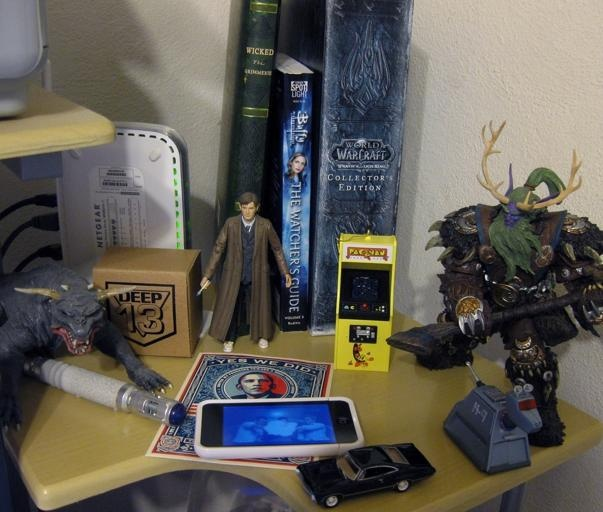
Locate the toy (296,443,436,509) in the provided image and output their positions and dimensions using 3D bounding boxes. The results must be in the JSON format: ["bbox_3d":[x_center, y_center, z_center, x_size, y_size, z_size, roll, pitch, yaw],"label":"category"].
[{"bbox_3d":[0.078,0.256,0.657,0.155,0.044,0.065,-7,39,-12],"label":"toy"}]

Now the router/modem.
[{"bbox_3d":[-0.319,-0.112,0.966,0.228,0.280,0.067,-2,17,-6],"label":"router/modem"}]

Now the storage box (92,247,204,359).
[{"bbox_3d":[-0.277,0.116,0.892,0.158,0.148,0.110,5,-29,-28],"label":"storage box"}]

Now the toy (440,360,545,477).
[{"bbox_3d":[0.251,0.204,0.725,0.070,0.126,0.193,1,8,-16],"label":"toy"}]

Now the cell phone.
[{"bbox_3d":[-0.030,0.228,0.713,0.170,0.023,0.090,0,32,-2],"label":"cell phone"}]
